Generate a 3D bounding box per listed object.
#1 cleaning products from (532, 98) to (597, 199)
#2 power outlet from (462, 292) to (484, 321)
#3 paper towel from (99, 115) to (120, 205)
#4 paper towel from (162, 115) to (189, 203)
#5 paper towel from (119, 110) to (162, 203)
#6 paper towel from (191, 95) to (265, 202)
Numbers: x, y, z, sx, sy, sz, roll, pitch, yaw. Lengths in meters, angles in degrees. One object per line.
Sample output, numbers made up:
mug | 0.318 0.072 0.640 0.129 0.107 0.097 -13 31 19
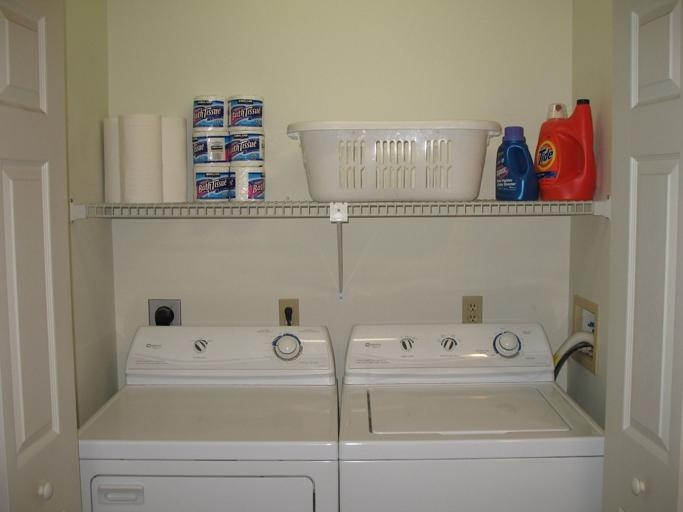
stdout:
cleaning products | 0.800 -0.373 2.305 0.227 0.377 0.152 -1 -9 37
power outlet | 0.532 0.198 2.579 0.101 0.147 0.014 0 3 0
paper towel | -0.850 -0.353 2.349 0.094 0.304 0.039 4 4 34
paper towel | -0.619 -0.359 2.343 0.094 0.319 0.109 1 3 -17
paper towel | -0.734 -0.356 2.315 0.151 0.318 0.058 1 3 -14
paper towel | -0.418 -0.391 2.341 0.257 0.379 0.147 1 3 -14
